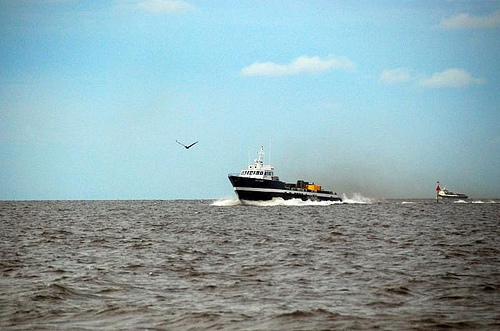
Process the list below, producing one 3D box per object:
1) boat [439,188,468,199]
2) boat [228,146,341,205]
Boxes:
[{"bbox_3d":[43.981,6.389,166.871,4.967,2.138,10.332,-1,-1,25],"label":"boat"},{"bbox_3d":[5.159,2.118,111.095,4.872,8.284,22.352,5,-3,42],"label":"boat"}]
